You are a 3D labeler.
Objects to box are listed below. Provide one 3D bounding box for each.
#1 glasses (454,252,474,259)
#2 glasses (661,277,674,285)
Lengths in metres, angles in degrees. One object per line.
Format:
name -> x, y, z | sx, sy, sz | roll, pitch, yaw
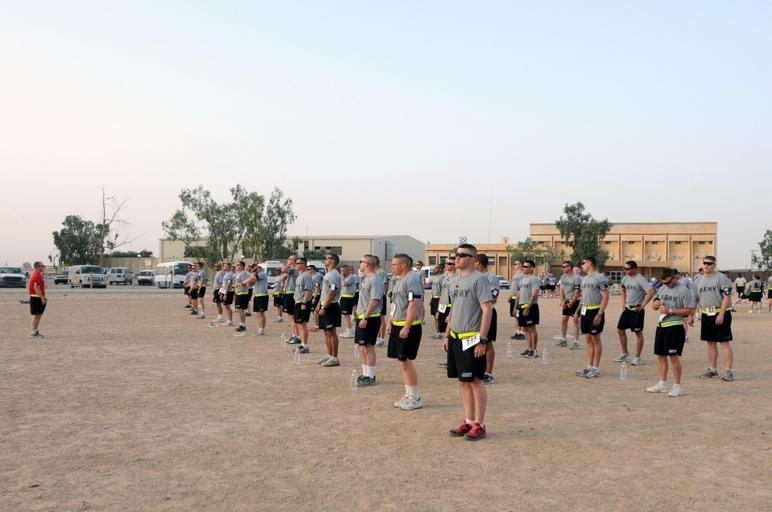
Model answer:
glasses -> 1.121, -0.009, 10.806 | 0.271, 0.090, 0.171 | 0, 9, -1
glasses -> 4.821, 0.418, 13.004 | 0.129, 0.126, 0.171 | -1, -22, 46
